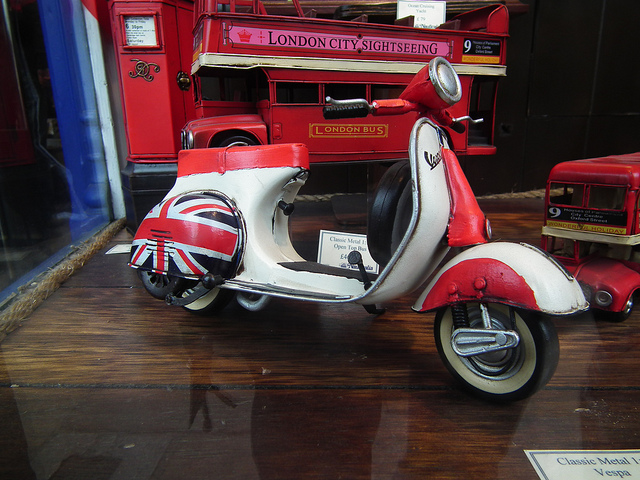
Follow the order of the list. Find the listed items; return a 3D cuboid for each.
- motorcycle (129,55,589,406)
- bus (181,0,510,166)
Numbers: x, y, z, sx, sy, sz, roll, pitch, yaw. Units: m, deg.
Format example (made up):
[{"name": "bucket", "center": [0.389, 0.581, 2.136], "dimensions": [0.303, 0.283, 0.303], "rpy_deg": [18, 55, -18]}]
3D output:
[{"name": "motorcycle", "center": [0.057, -0.254, 3.378], "dimensions": [3.076, 1.801, 1.302], "rpy_deg": [10, 14, 30]}, {"name": "bus", "center": [0.274, -1.207, 4.837], "dimensions": [2.701, 1.579, 1.641], "rpy_deg": [-1, 21, -6]}]
